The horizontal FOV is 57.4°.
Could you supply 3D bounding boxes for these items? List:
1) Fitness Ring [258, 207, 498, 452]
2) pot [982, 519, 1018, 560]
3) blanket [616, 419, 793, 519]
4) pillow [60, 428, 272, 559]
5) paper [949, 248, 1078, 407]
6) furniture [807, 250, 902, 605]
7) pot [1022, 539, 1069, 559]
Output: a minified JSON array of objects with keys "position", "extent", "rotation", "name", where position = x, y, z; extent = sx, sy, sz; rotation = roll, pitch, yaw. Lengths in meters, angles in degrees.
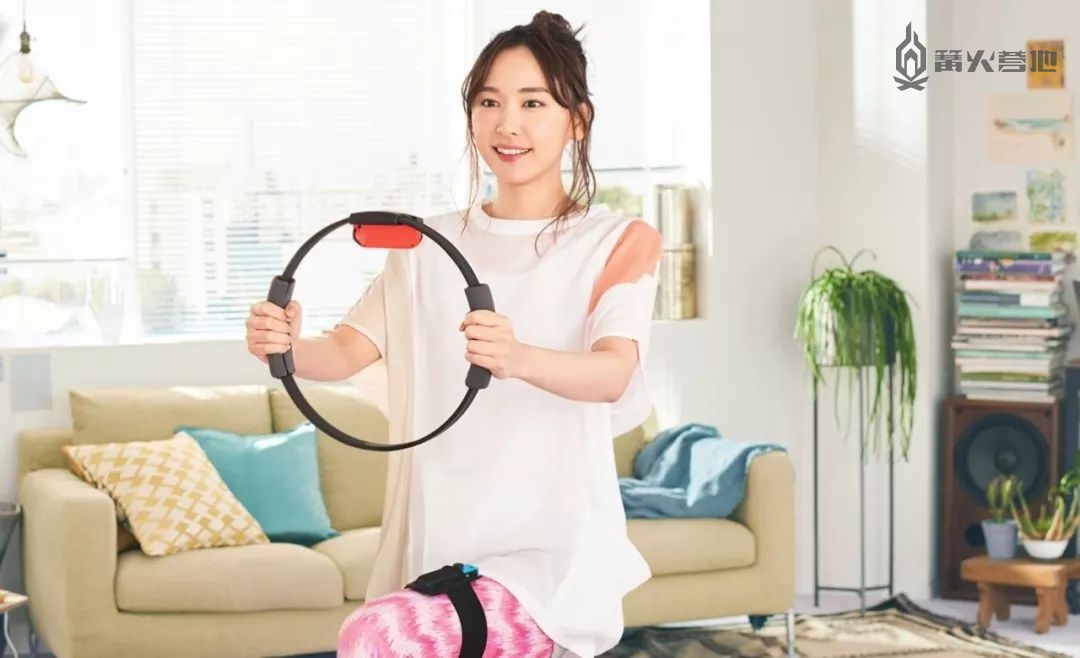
[{"position":[-0.329,0.005,2.358],"extent":[0.568,0.563,0.156],"rotation":[4,5,8],"name":"Fitness Ring"},{"position":[2.182,1.011,4.727],"extent":[0.170,0.128,0.165],"rotation":[-1,1,0],"name":"pot"},{"position":[0.706,0.637,4.368],"extent":[0.629,0.236,0.608],"rotation":[0,4,-10],"name":"blanket"},{"position":[-1.519,0.675,4.052],"extent":[0.542,0.150,0.555],"rotation":[-2,43,-42],"name":"pillow"},{"position":[2.302,-0.028,4.834],"extent":[0.575,0.739,0.252],"rotation":[0,4,8],"name":"paper"},{"position":[1.567,0.479,4.871],"extent":[0.569,1.781,0.522],"rotation":[-1,5,20],"name":"furniture"},{"position":[2.373,1.031,4.605],"extent":[0.127,0.055,0.125],"rotation":[-1,-3,0],"name":"pot"}]
